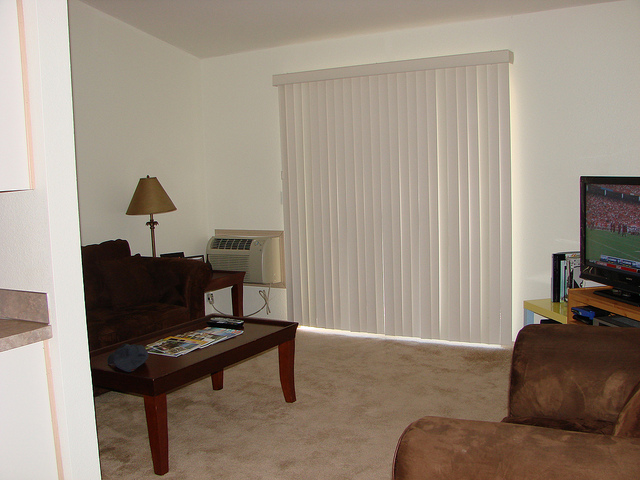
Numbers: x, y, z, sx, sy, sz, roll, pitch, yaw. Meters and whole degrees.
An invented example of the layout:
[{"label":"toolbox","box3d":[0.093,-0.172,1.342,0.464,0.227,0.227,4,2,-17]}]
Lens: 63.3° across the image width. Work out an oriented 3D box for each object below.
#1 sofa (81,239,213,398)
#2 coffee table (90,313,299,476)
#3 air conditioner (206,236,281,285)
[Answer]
[{"label":"sofa","box3d":[-1.442,0.434,4.014,0.915,1.039,1.144,10,8,37]},{"label":"coffee table","box3d":[-0.784,0.847,3.174,0.666,0.637,1.143,5,10,38]},{"label":"air conditioner","box3d":[-0.798,0.199,5.354,0.757,0.501,0.303,1,3,29]}]
